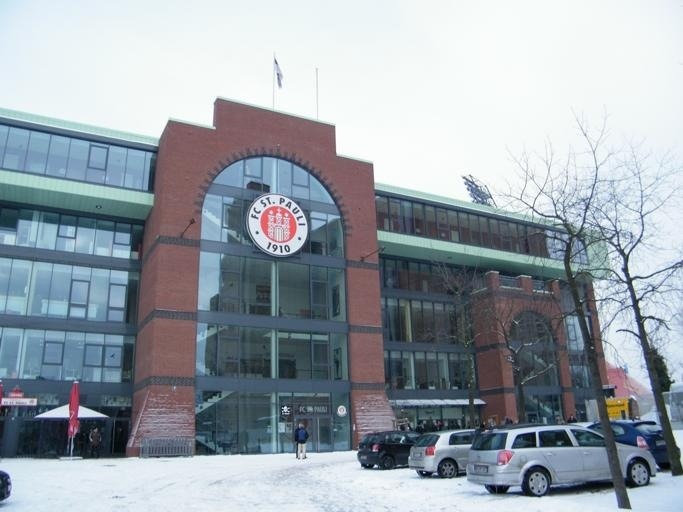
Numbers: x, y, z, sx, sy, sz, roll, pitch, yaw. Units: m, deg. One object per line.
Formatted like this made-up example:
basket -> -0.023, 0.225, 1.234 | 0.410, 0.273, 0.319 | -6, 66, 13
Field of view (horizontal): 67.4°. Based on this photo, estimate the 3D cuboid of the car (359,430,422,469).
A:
car -> 2.255, 9.052, 24.146 | 2.638, 1.165, 1.594 | 3, -15, -22

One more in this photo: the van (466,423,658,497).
van -> 6.990, 6.472, 16.502 | 6.097, 1.972, 2.309 | 4, -23, -18
